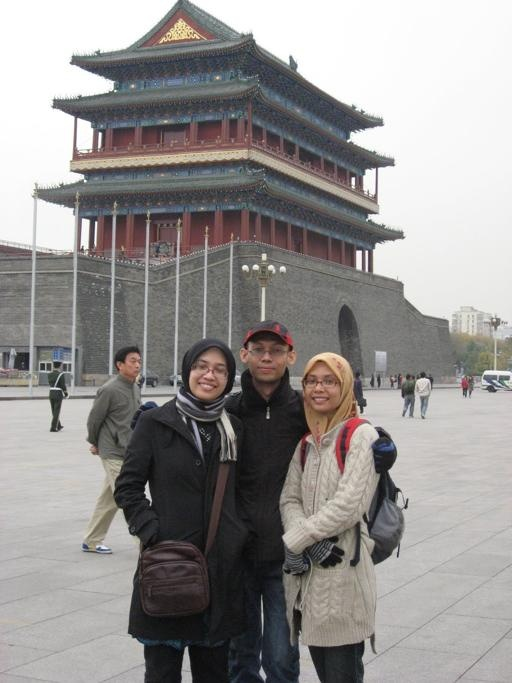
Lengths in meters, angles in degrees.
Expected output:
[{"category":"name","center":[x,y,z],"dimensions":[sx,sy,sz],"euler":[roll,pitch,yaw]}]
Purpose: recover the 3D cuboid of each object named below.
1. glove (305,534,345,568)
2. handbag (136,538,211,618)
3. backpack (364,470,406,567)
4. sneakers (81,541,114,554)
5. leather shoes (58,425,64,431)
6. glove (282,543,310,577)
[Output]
[{"category":"glove","center":[0.227,0.675,2.344],"dimensions":[0.100,0.088,0.046],"euler":[34,-2,13]},{"category":"handbag","center":[-0.244,0.719,2.184],"dimensions":[0.213,0.223,0.123],"euler":[-3,-15,-11]},{"category":"backpack","center":[0.465,0.623,2.614],"dimensions":[0.174,0.320,0.229],"euler":[1,-9,12]},{"category":"sneakers","center":[-1.166,1.518,5.343],"dimensions":[0.228,0.100,0.085],"euler":[2,-8,3]},{"category":"leather shoes","center":[-4.326,1.911,16.030],"dimensions":[0.077,0.144,0.145],"euler":[-3,0,27]},{"category":"glove","center":[0.134,0.711,2.378],"dimensions":[0.103,0.107,0.067],"euler":[0,-4,6]}]
